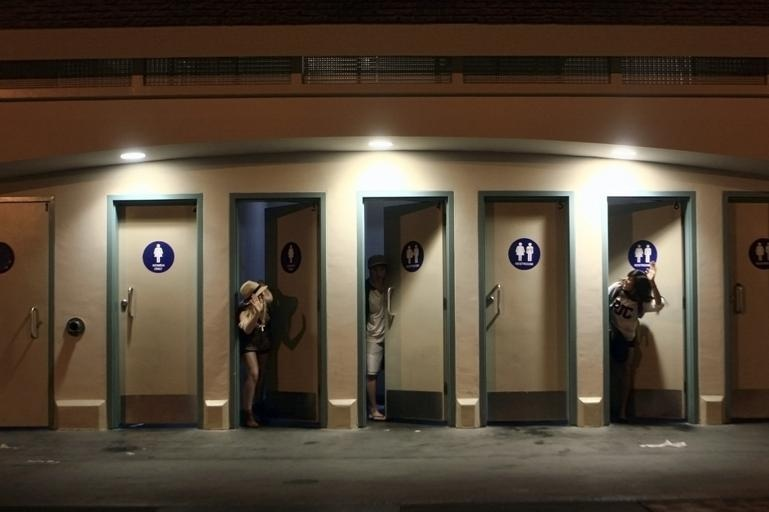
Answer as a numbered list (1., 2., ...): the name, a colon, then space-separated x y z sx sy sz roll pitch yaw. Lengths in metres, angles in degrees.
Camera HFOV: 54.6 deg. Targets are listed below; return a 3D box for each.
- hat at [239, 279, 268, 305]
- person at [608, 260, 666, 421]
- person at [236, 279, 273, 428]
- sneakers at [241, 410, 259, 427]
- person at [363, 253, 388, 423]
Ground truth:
1. hat: -1.907 0.518 10.946 0.381 0.309 0.207 -3 10 -15
2. person: 3.752 1.300 11.239 0.766 2.316 0.486 1 9 7
3. person: -1.944 1.425 11.081 0.412 2.141 0.590 3 9 19
4. sneakers: -1.930 2.421 11.007 0.382 0.275 0.143 -1 -3 14
5. person: -0.108 1.234 11.388 0.343 2.465 0.648 -1 9 -1
